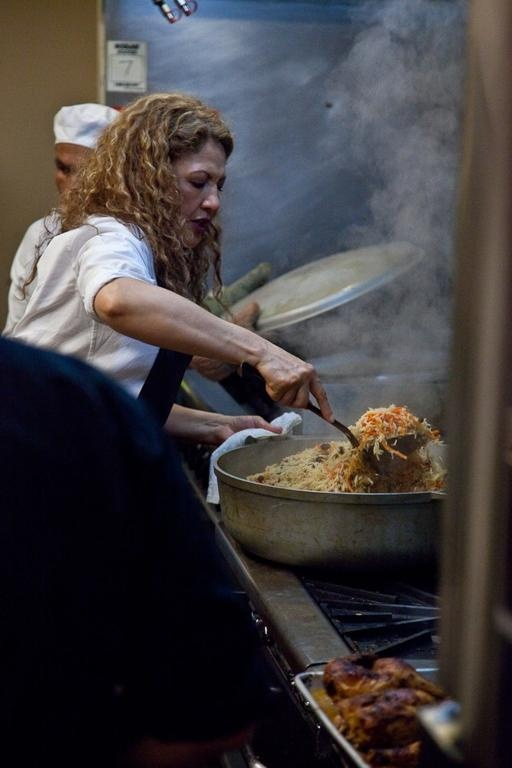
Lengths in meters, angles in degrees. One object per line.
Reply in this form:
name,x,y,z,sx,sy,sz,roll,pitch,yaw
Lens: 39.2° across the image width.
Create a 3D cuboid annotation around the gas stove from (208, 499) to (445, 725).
gas stove,0.151,0.369,1.073,0.069,0.229,0.727,-34,-33,14
